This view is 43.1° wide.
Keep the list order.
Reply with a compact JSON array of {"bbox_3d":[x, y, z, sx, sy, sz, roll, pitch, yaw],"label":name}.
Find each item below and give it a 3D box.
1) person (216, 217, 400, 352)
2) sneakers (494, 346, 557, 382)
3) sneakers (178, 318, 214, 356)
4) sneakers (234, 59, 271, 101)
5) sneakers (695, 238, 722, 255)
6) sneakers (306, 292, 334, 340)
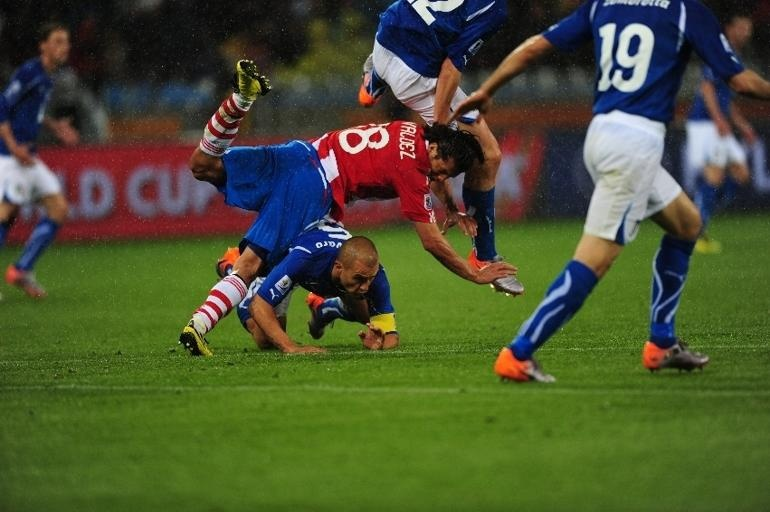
[{"bbox_3d":[-0.587,0.242,7.696,0.940,0.777,1.242,4,1,-41],"label":"person"},{"bbox_3d":[0.934,0.733,6.593,0.374,0.189,0.203,-1,4,4],"label":"sneakers"},{"bbox_3d":[-1.457,0.644,7.555,0.088,0.253,0.140,-28,30,16],"label":"sneakers"},{"bbox_3d":[-1.053,-1.352,7.644,0.327,0.247,0.135,43,1,-25],"label":"sneakers"},{"bbox_3d":[2.934,-0.080,8.866,0.213,0.082,0.299,3,0,-6],"label":"sneakers"},{"bbox_3d":[-0.558,0.477,8.194,0.199,0.464,0.165,12,35,26],"label":"sneakers"}]
